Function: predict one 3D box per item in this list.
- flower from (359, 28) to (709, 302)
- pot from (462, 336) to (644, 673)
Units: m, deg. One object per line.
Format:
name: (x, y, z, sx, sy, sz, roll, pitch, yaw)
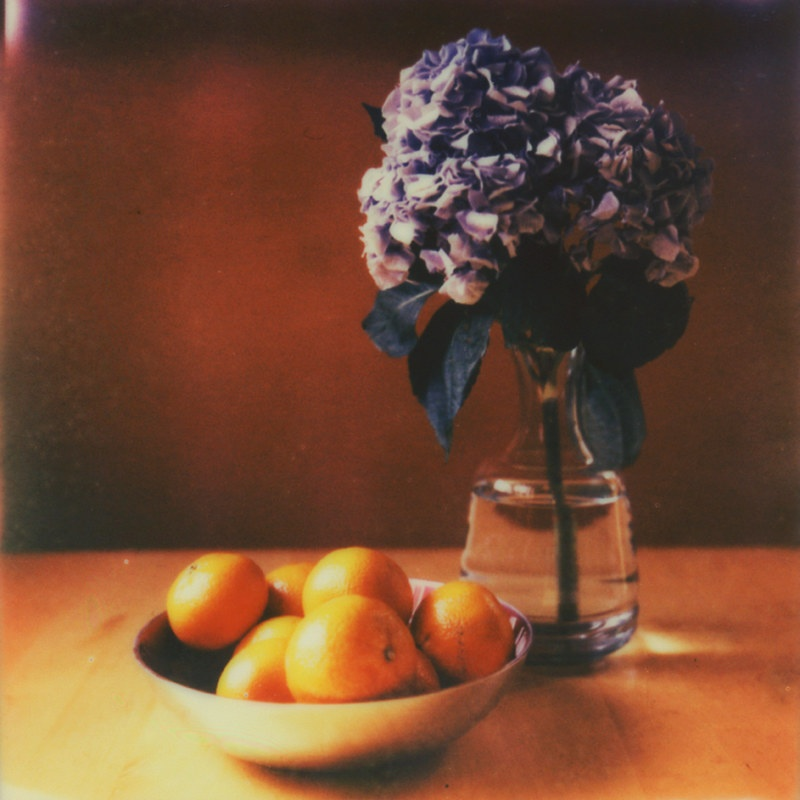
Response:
flower: (0.126, -0.227, 1.017, 0.251, 0.250, 0.298, -1, 44, -8)
pot: (0.167, 0.125, 1.191, 0.176, 0.416, 0.185, 2, -15, 1)
